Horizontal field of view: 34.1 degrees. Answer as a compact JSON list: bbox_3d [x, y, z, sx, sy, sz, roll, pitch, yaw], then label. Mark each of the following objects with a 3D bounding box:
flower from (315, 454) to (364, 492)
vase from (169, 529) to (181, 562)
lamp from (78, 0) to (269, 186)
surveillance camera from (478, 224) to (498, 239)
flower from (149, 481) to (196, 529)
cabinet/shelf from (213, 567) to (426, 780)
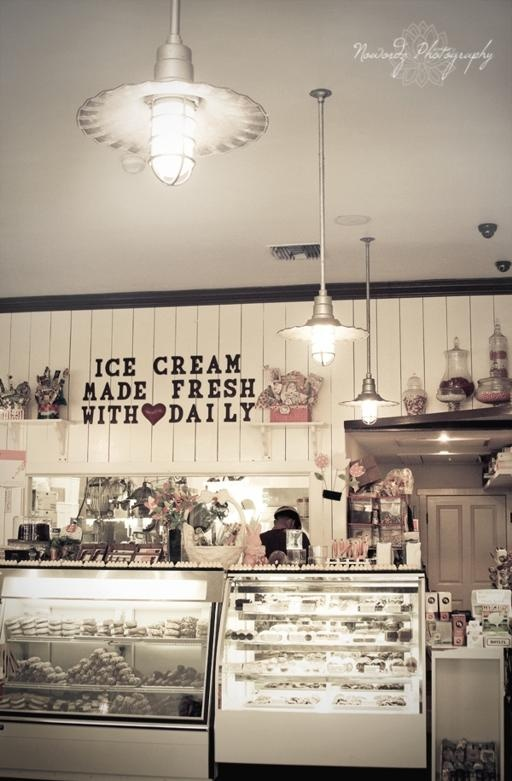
[{"bbox_3d":[0.655,0.611,6.264,0.399,0.268,0.200,-4,-7,36],"label":"flower"},{"bbox_3d":[-0.478,0.908,4.935,0.072,0.173,0.084,1,-6,-11],"label":"vase"},{"bbox_3d":[-0.213,-0.767,2.135,0.476,0.532,0.376,0,-6,0],"label":"lamp"},{"bbox_3d":[1.377,-0.959,4.975,0.076,0.076,0.022,1,28,10],"label":"surveillance camera"},{"bbox_3d":[-0.652,0.853,6.377,0.381,0.347,0.370,0,-6,-2],"label":"flower"},{"bbox_3d":[0.328,1.373,4.098,0.931,0.903,0.349,0,-8,4],"label":"cabinet/shelf"}]
